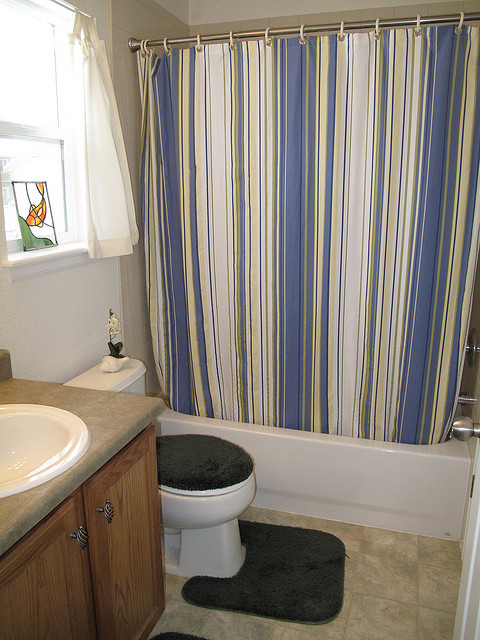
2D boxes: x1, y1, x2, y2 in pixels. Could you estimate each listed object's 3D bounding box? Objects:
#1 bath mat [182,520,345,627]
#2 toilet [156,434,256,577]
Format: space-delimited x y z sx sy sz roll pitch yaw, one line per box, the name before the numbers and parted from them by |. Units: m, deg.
bath mat | 0.103 0.870 1.810 0.524 0.029 0.511 5 14 17
toilet | -0.096 0.667 1.789 0.330 0.461 0.346 3 13 13
